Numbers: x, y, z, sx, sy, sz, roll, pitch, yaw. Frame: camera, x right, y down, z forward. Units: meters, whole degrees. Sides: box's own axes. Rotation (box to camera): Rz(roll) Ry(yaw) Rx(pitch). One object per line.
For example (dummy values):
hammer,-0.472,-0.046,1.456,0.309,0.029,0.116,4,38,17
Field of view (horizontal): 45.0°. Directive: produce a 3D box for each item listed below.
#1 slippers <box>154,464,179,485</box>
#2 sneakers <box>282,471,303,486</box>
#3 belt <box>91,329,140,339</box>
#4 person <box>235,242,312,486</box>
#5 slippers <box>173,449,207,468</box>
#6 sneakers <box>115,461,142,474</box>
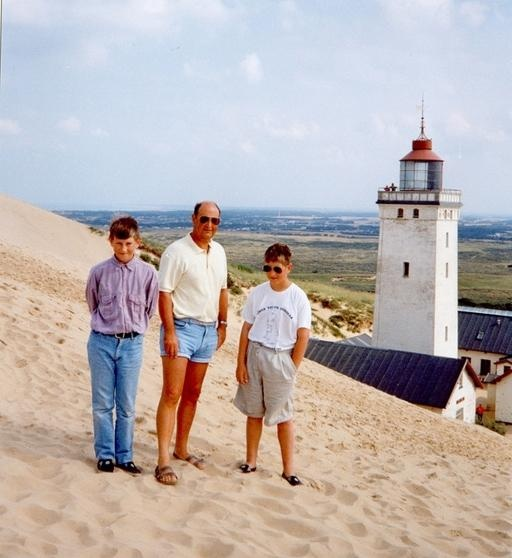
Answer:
slippers,-0.769,1.666,5.270,0.208,0.152,0.225,12,-1,-5
sneakers,0.345,1.850,5.714,0.171,0.104,0.266,12,-1,-11
belt,-1.202,0.470,5.309,0.382,0.073,0.101,11,-1,-14
person,0.173,0.774,5.776,0.791,2.204,0.415,13,-2,-1
slippers,-0.630,1.711,5.886,0.316,0.089,0.130,15,2,26
sneakers,-1.153,1.647,5.414,0.278,0.073,0.084,8,26,28
